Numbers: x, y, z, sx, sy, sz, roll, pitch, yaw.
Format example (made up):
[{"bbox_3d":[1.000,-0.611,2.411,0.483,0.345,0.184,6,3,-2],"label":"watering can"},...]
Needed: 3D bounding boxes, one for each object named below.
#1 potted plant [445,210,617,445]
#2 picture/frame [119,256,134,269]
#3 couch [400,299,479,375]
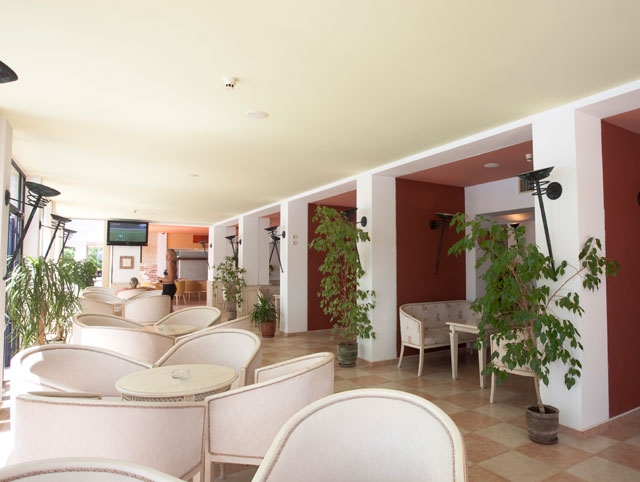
[{"bbox_3d":[2.015,0.782,4.838,1.235,2.151,1.604,-3,3,-19],"label":"potted plant"},{"bbox_3d":[-5.927,0.639,13.863,0.413,0.451,0.048,2,-5,-23],"label":"picture/frame"},{"bbox_3d":[1.874,1.332,6.799,1.494,0.815,0.511,-1,2,-33],"label":"couch"}]
